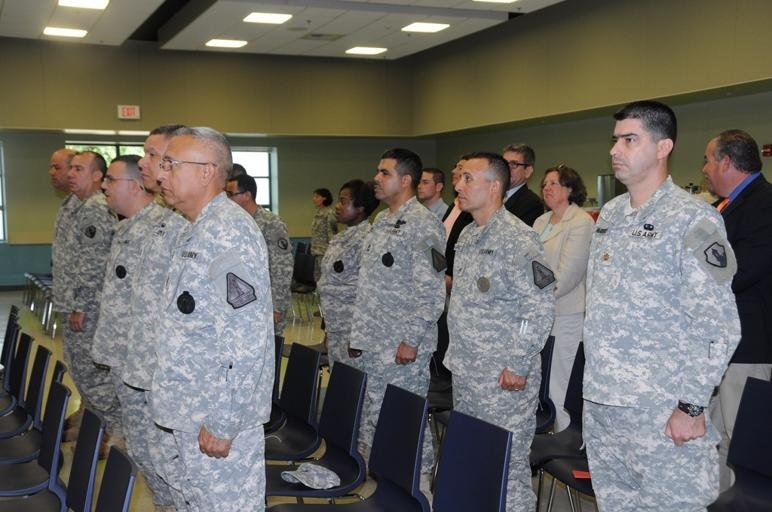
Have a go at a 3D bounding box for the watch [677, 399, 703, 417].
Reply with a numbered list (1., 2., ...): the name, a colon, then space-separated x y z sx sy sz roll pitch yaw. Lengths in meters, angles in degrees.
1. watch: 1.344 0.676 2.657 0.075 0.035 0.069 11 4 -23
